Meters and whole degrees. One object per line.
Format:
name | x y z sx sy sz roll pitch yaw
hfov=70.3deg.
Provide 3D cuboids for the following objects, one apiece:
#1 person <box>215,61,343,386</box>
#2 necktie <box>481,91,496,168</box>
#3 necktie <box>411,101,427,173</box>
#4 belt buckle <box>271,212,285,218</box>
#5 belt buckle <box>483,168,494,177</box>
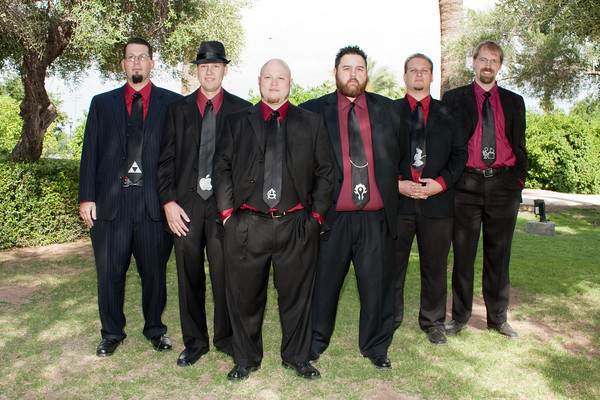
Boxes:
person | -0.292 0.249 5.030 1.406 3.652 0.847 -1 12 -5
necktie | 2.573 -0.968 5.843 0.200 0.993 0.292 1 12 6
necktie | 1.565 -0.833 5.665 0.179 0.892 0.223 -6 13 -25
belt buckle | -0.259 0.173 4.941 0.157 0.064 0.010 -1 12 -6
belt buckle | 2.556 -0.367 5.806 0.090 0.123 0.044 -1 2 2
